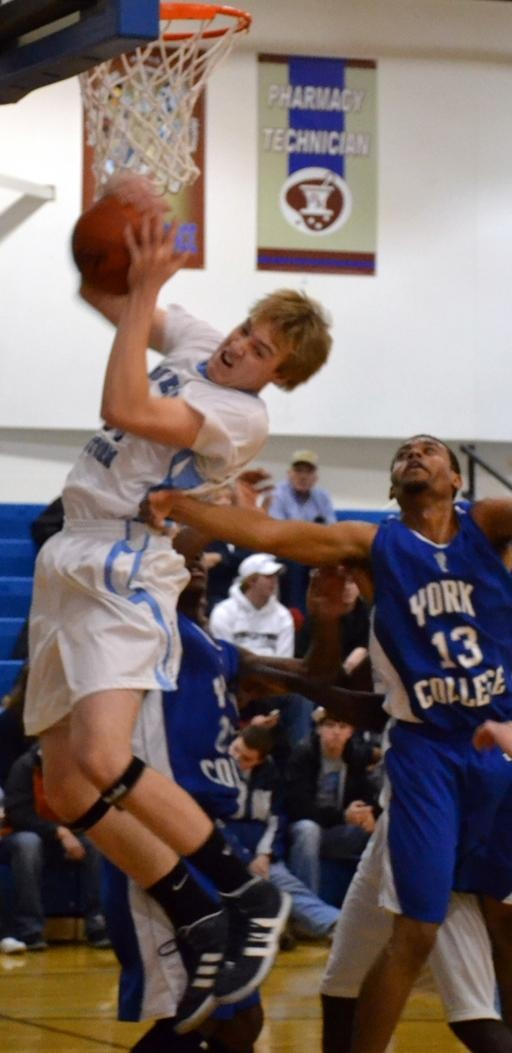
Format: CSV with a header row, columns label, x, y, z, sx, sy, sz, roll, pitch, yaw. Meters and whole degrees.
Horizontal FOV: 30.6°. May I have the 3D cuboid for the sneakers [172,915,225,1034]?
label,x,y,z,sx,sy,sz,roll,pitch,yaw
sneakers,-0.122,0.965,2.040,0.115,0.250,0.111,-1,14,-4

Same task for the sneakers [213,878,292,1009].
label,x,y,z,sx,sy,sz,roll,pitch,yaw
sneakers,-0.011,0.895,2.126,0.147,0.326,0.110,32,-37,-19

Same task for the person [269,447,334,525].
label,x,y,z,sx,sy,sz,roll,pitch,yaw
person,0.279,-0.284,6.307,0.466,0.410,0.708,5,46,2

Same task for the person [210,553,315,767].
label,x,y,z,sx,sy,sz,roll,pitch,yaw
person,0.031,0.589,4.366,0.393,0.931,0.517,6,-11,-27

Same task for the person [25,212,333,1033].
label,x,y,z,sx,sy,sz,roll,pitch,yaw
person,-0.200,0.181,2.140,0.625,1.701,0.770,5,15,18

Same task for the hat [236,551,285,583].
label,x,y,z,sx,sy,sz,roll,pitch,yaw
hat,0.018,0.191,4.591,0.198,0.084,0.143,-14,1,17

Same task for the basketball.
label,x,y,z,sx,sy,sz,roll,pitch,yaw
basketball,-0.332,-0.608,2.099,0.163,0.219,0.199,2,17,40

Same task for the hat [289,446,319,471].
label,x,y,z,sx,sy,sz,roll,pitch,yaw
hat,0.348,-0.460,6.327,0.189,0.115,0.181,6,-5,-23
